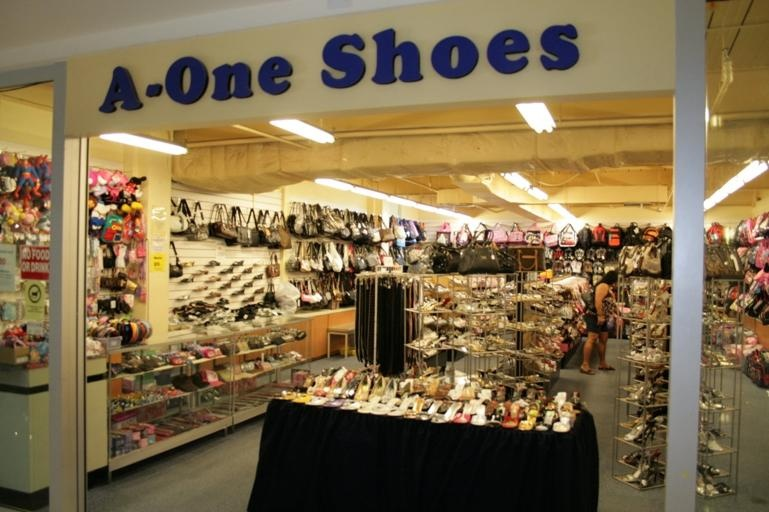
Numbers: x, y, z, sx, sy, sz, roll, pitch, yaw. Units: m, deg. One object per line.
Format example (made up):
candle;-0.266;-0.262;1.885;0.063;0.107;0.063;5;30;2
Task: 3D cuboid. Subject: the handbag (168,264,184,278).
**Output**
handbag;-3.210;0.229;8.729;0.086;0.202;0.220;-9;-7;43

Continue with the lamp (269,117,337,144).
lamp;-0.880;-1.372;6.123;0.340;0.145;1.263;-1;0;11

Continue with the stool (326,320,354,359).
stool;-0.888;1.779;11.887;0.528;0.650;0.702;-1;-1;8

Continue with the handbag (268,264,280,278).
handbag;-2.155;0.298;11.043;0.105;0.239;0.255;-7;-2;28

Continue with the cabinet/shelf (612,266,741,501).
cabinet/shelf;2.808;1.372;5.851;0.896;2.030;3.827;-1;-1;21
